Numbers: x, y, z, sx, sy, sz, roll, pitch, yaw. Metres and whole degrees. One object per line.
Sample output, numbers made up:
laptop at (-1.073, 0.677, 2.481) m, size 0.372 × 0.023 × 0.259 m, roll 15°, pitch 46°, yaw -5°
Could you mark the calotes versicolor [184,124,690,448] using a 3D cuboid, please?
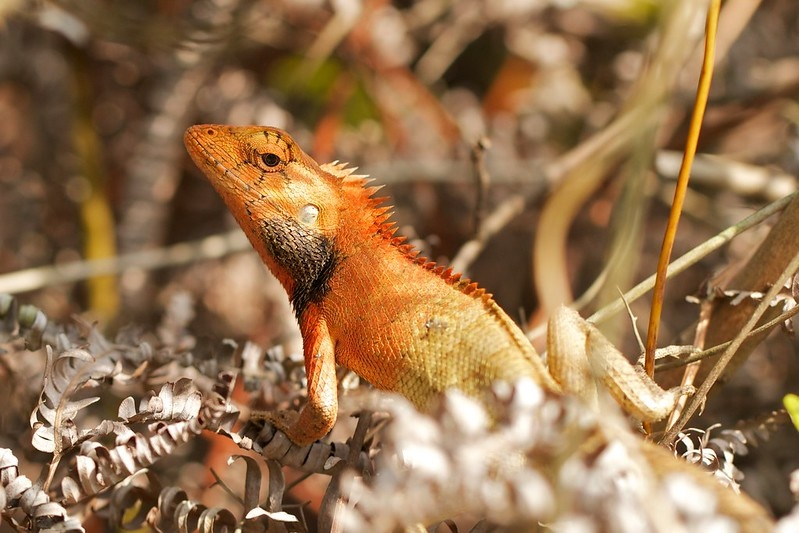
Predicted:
calotes versicolor at (0.021, 0.041, 1.657) m, size 0.884 × 0.354 × 0.436 m, roll 30°, pitch 27°, yaw 6°
